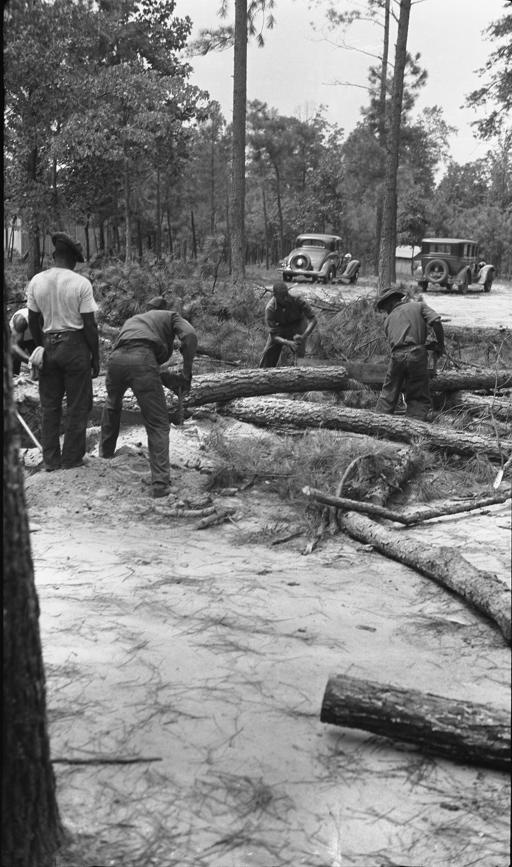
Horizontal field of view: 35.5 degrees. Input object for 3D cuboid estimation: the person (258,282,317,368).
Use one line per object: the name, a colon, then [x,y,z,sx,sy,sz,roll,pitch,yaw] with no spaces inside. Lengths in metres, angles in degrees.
person: [0.375,-1.331,9.851,0.790,1.038,0.646,6,9,39]

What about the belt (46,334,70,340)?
belt: [-1.536,-0.747,6.176,0.176,0.079,0.041,1,6,-1]

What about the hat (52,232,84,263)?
hat: [-1.490,-1.472,6.331,0.222,0.240,0.385,-1,8,-13]

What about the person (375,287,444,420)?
person: [1.633,-0.749,8.502,0.601,1.644,0.538,-5,-15,23]

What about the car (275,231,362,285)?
car: [1.915,-5.225,23.845,2.231,1.573,2.342,1,7,3]

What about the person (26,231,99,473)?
person: [-1.517,-0.647,6.348,0.429,1.843,0.410,4,8,13]

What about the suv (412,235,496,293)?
suv: [6.055,-5.116,24.257,1.418,1.572,2.869,7,25,25]

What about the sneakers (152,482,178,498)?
sneakers: [-0.702,0.431,6.174,0.213,0.099,0.151,-3,8,-25]

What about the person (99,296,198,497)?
person: [-0.919,-0.289,6.474,0.747,1.407,0.660,3,7,23]
